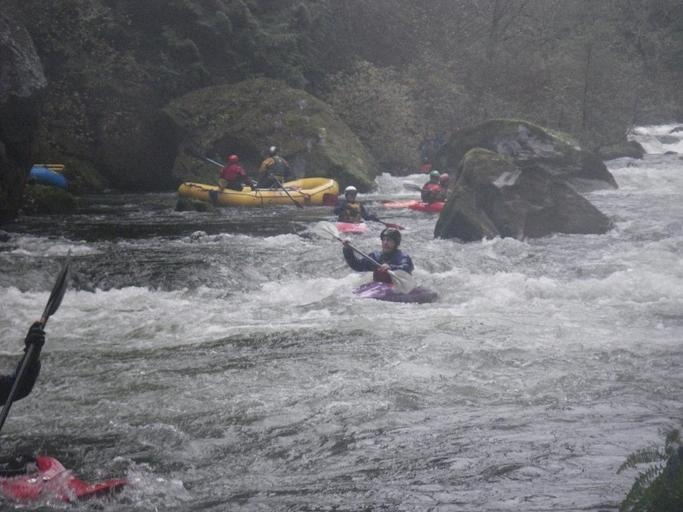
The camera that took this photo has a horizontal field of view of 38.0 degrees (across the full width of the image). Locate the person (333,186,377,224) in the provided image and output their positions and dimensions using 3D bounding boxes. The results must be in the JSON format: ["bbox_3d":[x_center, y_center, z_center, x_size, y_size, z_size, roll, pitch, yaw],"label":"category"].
[{"bbox_3d":[0.393,-1.522,29.116,1.120,1.117,0.868,1,-2,0],"label":"person"}]

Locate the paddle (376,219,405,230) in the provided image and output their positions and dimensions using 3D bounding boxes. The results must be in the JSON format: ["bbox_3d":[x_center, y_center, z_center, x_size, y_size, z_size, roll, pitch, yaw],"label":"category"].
[{"bbox_3d":[1.491,-0.899,28.704,0.115,0.269,1.357,11,-1,36],"label":"paddle"}]

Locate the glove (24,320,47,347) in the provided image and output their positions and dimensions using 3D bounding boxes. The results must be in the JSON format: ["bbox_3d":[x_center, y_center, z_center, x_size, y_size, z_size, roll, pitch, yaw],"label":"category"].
[{"bbox_3d":[-5.983,1.537,19.428,0.354,0.542,0.212,2,-2,-21],"label":"glove"}]

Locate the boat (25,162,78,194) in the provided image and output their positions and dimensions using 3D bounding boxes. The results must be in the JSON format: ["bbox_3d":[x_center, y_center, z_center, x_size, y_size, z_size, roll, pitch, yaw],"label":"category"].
[{"bbox_3d":[-9.561,-2.683,32.839,1.129,0.547,1.533,2,-2,-4],"label":"boat"}]

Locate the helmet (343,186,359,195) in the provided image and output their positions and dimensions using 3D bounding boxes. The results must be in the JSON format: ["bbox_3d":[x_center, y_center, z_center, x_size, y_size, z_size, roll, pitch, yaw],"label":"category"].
[{"bbox_3d":[0.284,-1.979,29.409,0.414,0.222,0.412,-1,1,6],"label":"helmet"}]

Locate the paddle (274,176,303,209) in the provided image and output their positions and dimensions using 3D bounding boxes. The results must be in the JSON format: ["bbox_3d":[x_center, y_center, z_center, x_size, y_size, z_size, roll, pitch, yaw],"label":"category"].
[{"bbox_3d":[-1.808,-2.115,33.476,0.197,1.779,0.123,-39,-28,-6],"label":"paddle"}]

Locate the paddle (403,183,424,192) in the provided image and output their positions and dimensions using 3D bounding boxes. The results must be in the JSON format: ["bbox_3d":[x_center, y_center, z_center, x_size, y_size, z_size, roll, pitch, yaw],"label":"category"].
[{"bbox_3d":[2.546,-2.369,34.029,0.182,0.279,1.258,17,0,28],"label":"paddle"}]

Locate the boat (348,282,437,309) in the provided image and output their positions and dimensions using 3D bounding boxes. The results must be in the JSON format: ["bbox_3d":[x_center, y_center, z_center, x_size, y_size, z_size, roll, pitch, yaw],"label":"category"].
[{"bbox_3d":[1.308,0.910,23.339,1.300,0.251,0.745,8,-8,3],"label":"boat"}]

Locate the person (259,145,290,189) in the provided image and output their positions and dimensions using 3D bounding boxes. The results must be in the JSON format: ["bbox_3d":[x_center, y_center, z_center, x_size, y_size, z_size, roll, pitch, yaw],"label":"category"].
[{"bbox_3d":[-2.293,-2.952,34.174,1.028,1.611,0.965,4,-6,-12],"label":"person"}]

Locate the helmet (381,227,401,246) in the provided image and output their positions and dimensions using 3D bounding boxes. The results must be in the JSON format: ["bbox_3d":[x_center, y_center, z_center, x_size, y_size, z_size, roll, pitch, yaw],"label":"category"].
[{"bbox_3d":[1.192,-0.487,23.883,0.439,0.348,0.344,-4,4,0],"label":"helmet"}]
